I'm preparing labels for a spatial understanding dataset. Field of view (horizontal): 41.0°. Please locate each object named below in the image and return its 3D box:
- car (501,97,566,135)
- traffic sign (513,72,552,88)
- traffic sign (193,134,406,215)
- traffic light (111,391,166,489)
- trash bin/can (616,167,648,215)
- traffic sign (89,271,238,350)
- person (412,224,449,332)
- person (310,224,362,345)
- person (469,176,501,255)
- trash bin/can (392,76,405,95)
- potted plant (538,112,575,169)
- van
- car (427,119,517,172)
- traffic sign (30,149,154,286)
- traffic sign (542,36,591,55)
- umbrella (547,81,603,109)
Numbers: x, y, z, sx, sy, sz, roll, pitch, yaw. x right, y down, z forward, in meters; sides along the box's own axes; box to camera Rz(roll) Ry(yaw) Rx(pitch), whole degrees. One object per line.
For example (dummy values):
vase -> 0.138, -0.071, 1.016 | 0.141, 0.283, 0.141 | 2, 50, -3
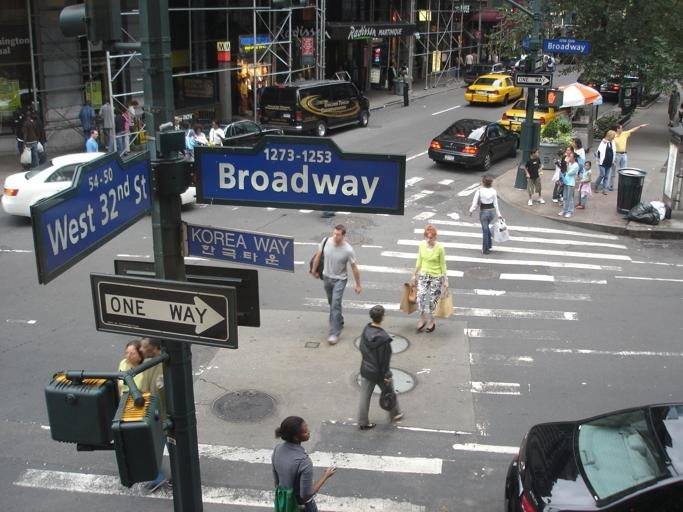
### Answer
car -> 7.601, -5.300, 35.125 | 1.815, 1.581, 4.396 | 10, 15, 27
traffic sign -> 5.414, -5.020, 26.024 | 1.029, 0.441, 0.503 | 6, 15, 24
traffic sign -> -0.500, -0.972, 10.786 | 2.476, 0.891, 0.176 | 2, 12, 9
traffic light -> -2.167, 2.021, 10.231 | 0.562, 0.998, 0.674 | 3, 18, 0
trash bin/can -> 7.658, -1.678, 24.298 | 0.634, 1.199, 0.782 | 4, 13, 17
traffic sign -> -2.011, 0.609, 10.444 | 1.711, 0.778, 0.228 | 2, 13, 9
person -> 1.724, 0.367, 17.732 | 0.689, 2.063, 0.647 | 5, 15, 6
person -> -0.108, 0.498, 17.009 | 0.804, 2.185, 1.041 | -1, 11, -17
person -> 3.394, -1.010, 21.553 | 0.802, 1.989, 0.698 | 4, 15, 12
trash bin/can -> 2.986, -8.970, 48.097 | 0.765, 0.826, 0.828 | 2, 20, 2
potted plant -> 7.005, -3.858, 30.079 | 1.216, 2.152, 1.355 | 10, 19, 30
van -> -0.733, -5.842, 35.689 | 1.968, 2.182, 5.558 | 5, 17, 32
car -> 4.650, -3.944, 31.120 | 1.847, 1.556, 4.520 | 12, 20, 31
traffic sign -> -2.746, -0.482, 10.105 | 0.138, 1.234, 1.460 | 9, 16, 36
traffic sign -> 6.746, -6.278, 27.216 | 1.175, 0.455, 2.494 | 5, 15, 20
umbrella -> 8.278, -5.539, 31.756 | 1.226, 0.770, 1.888 | 5, 15, 22
